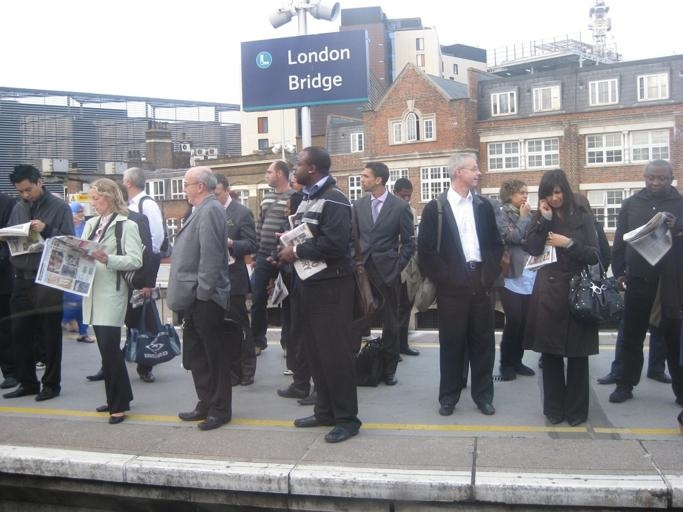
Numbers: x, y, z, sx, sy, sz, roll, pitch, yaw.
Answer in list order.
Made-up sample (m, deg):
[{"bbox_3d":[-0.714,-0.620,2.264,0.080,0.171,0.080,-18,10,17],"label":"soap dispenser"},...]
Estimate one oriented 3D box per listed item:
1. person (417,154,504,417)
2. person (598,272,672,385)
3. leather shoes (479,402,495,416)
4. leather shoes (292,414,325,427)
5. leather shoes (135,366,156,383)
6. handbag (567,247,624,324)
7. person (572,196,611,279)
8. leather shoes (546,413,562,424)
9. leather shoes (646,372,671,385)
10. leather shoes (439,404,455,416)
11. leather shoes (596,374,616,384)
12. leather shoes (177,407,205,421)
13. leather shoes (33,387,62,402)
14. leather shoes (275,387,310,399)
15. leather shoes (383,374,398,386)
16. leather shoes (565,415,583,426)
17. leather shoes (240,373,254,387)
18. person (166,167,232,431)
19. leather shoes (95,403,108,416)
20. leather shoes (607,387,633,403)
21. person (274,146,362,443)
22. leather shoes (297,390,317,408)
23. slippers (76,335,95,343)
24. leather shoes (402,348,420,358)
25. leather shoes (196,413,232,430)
[{"bbox_3d":[1.227,0.294,7.610,0.856,2.659,0.580,0,7,11],"label":"person"},{"bbox_3d":[3.406,0.941,8.287,0.718,0.323,1.543,0,-39,16],"label":"person"},{"bbox_3d":[1.498,1.572,7.590,0.178,0.114,0.185,0,7,10],"label":"leather shoes"},{"bbox_3d":[-0.343,1.666,7.381,0.327,0.121,0.120,4,-5,-2],"label":"leather shoes"},{"bbox_3d":[-2.468,1.483,9.133,0.298,0.220,0.118,-2,0,42],"label":"leather shoes"},{"bbox_3d":[2.476,0.358,7.150,0.558,0.599,0.352,-5,8,-23],"label":"handbag"},{"bbox_3d":[2.877,-0.244,8.438,0.329,0.963,0.717,-16,0,34],"label":"person"},{"bbox_3d":[2.098,1.620,7.271,0.177,0.073,0.141,2,8,25],"label":"leather shoes"},{"bbox_3d":[3.692,1.419,8.504,0.101,0.113,0.267,3,-1,-43],"label":"leather shoes"},{"bbox_3d":[1.078,1.586,7.565,0.153,0.109,0.126,-1,7,1],"label":"leather shoes"},{"bbox_3d":[3.015,1.423,8.432,0.240,0.098,0.083,-2,3,1],"label":"leather shoes"},{"bbox_3d":[-1.562,1.660,7.634,0.307,0.124,0.119,4,-2,0],"label":"leather shoes"},{"bbox_3d":[-3.355,1.571,8.322,0.103,0.125,0.298,-14,-17,31],"label":"leather shoes"},{"bbox_3d":[-0.571,1.567,8.331,0.362,0.156,0.136,4,-4,10],"label":"leather shoes"},{"bbox_3d":[0.577,1.477,8.733,0.168,0.096,0.208,-2,7,-6],"label":"leather shoes"},{"bbox_3d":[2.278,1.609,7.157,0.178,0.061,0.077,-2,8,24],"label":"leather shoes"},{"bbox_3d":[-1.168,1.504,8.851,0.134,0.136,0.338,0,-7,7],"label":"leather shoes"},{"bbox_3d":[-1.435,0.407,7.465,0.636,2.614,0.672,-7,9,-38],"label":"person"},{"bbox_3d":[-2.632,1.667,7.956,0.093,0.092,0.227,5,-1,-32],"label":"leather shoes"},{"bbox_3d":[2.968,1.489,7.816,0.318,0.122,0.117,2,-7,-44],"label":"leather shoes"},{"bbox_3d":[-0.178,0.334,7.117,0.704,2.791,0.801,-7,9,-40],"label":"person"},{"bbox_3d":[-0.435,1.595,8.051,0.372,0.149,0.123,5,-8,-34],"label":"leather shoes"},{"bbox_3d":[-4.007,1.299,11.418,0.288,0.121,0.107,1,2,-3],"label":"slippers"},{"bbox_3d":[0.934,1.326,10.076,0.278,0.115,0.102,1,0,6],"label":"leather shoes"},{"bbox_3d":[-1.295,1.676,7.383,0.312,0.128,0.112,6,1,-44],"label":"leather shoes"}]
